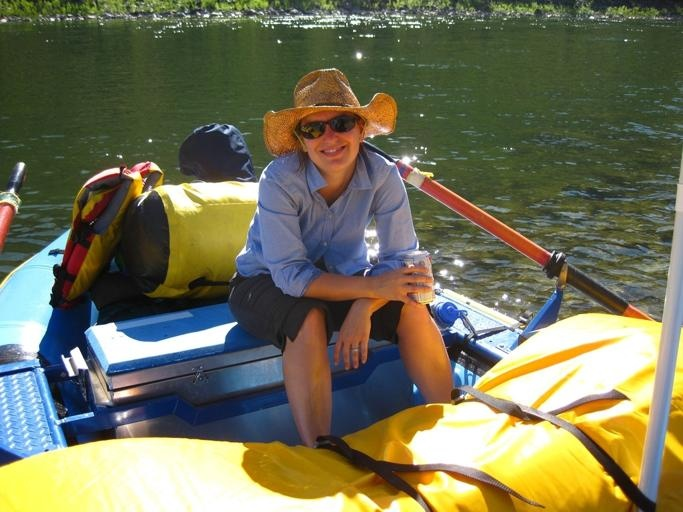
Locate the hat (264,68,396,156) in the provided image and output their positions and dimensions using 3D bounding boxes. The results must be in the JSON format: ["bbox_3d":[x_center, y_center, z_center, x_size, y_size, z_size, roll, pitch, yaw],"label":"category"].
[{"bbox_3d":[-0.078,-0.596,3.072,0.459,0.187,0.496,-10,-8,-27],"label":"hat"}]

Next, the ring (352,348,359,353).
[{"bbox_3d":[0.057,0.402,2.956,0.027,0.020,0.032,1,17,8],"label":"ring"}]

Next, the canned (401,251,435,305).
[{"bbox_3d":[0.329,0.091,2.945,0.128,0.243,0.186,0,18,5],"label":"canned"}]

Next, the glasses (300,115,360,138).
[{"bbox_3d":[-0.051,-0.570,3.003,0.257,0.103,0.120,-2,17,-1],"label":"glasses"}]
